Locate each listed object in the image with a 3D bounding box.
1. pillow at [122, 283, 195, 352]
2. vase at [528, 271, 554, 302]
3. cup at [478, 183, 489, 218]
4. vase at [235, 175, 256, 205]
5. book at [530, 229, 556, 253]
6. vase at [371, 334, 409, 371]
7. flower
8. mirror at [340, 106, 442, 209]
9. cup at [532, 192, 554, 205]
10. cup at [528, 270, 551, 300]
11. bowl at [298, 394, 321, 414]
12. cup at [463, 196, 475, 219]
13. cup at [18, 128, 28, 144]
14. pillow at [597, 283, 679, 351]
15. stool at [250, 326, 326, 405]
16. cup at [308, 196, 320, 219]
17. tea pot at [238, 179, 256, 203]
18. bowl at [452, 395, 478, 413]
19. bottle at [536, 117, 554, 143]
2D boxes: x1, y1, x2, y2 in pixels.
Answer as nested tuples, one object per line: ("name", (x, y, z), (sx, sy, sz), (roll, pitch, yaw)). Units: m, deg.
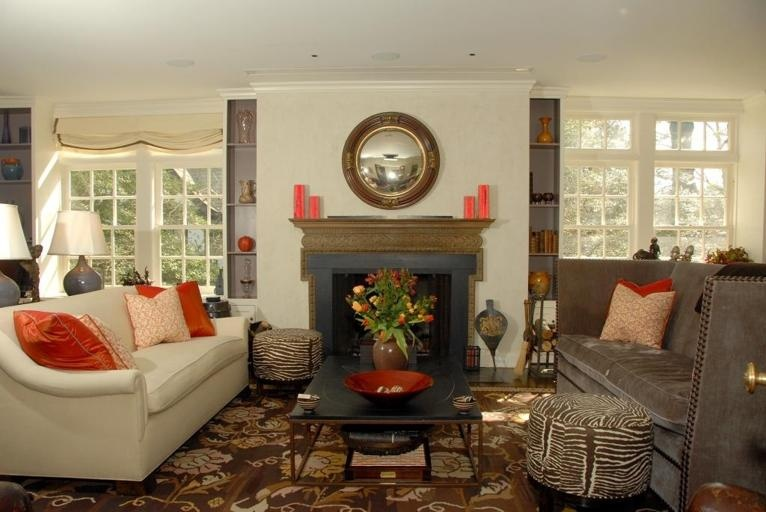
("pillow", (-2.072, 0.582, 5.339), (0.530, 0.259, 0.451), (-11, 45, -42))
("vase", (1.819, 0.352, 6.833), (0.328, 0.359, 0.312), (-1, 3, 11))
("cup", (1.157, -0.636, 6.663), (0.148, 0.370, 0.337), (2, 14, 9))
("vase", (-1.638, -0.789, 7.248), (0.353, 0.328, 0.233), (2, -2, -25))
("book", (1.936, -0.144, 7.105), (0.368, 0.332, 0.271), (-3, -6, 38))
("vase", (0.076, 0.832, 5.027), (0.323, 0.289, 0.316), (4, 9, 24))
("flower", (0.088, 0.449, 5.328), (0.892, 0.885, 0.905), (-2, 2, -41))
("mirror", (0.120, -1.185, 6.753), (1.271, 1.178, 0.127), (0, 2, -1))
("cup", (1.924, -0.700, 7.032), (0.195, 0.090, 0.187), (0, 1, 0))
("cup", (1.853, 0.324, 6.920), (0.246, 0.267, 0.278), (5, 15, 21))
("bowl", (-0.543, 1.058, 4.184), (0.134, 0.093, 0.144), (0, -10, 0))
("cup", (0.983, -0.568, 6.660), (0.134, 0.241, 0.303), (1, 14, 7))
("cup", (-4.608, -1.554, 7.453), (0.124, 0.205, 0.122), (0, 14, 0))
("pillow", (2.277, 0.490, 5.172), (0.183, 0.573, 0.598), (23, -10, -40))
("stool", (-0.956, 1.044, 5.777), (0.733, 0.591, 0.709), (0, 0, -8))
("cup", (-0.788, -0.584, 6.769), (0.133, 0.245, 0.183), (-1, 14, -3))
("tea pot", (-1.664, -0.801, 7.146), (0.206, 0.270, 0.256), (-4, 14, -13))
("bowl", (0.602, 1.071, 4.302), (0.163, 0.120, 0.173), (0, 13, 0))
("bottle", (1.987, -1.547, 7.101), (0.196, 0.315, 0.440), (3, 14, 15))
